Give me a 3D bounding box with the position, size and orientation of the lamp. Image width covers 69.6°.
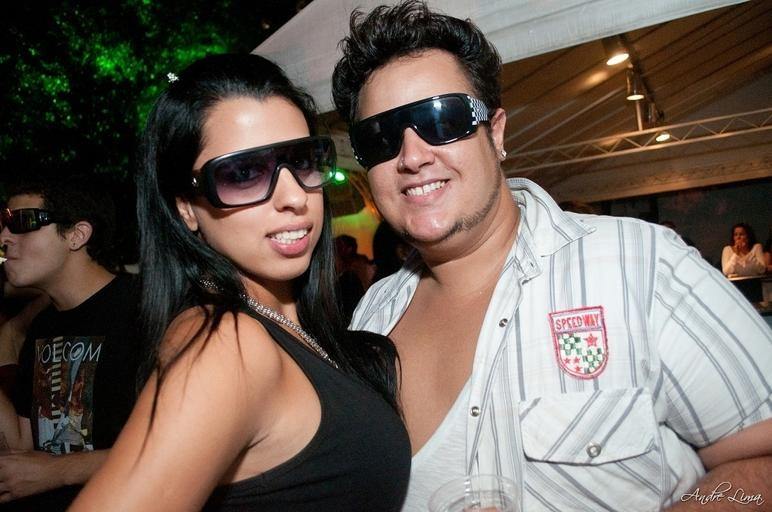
[{"bbox_3d":[2.720,-1.991,6.216,0.164,0.357,1.001,-3,-46,41],"label":"lamp"}]

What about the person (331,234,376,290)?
[{"bbox_3d":[-0.369,0.062,6.322,0.276,0.262,0.760,-38,9,-5],"label":"person"}]
